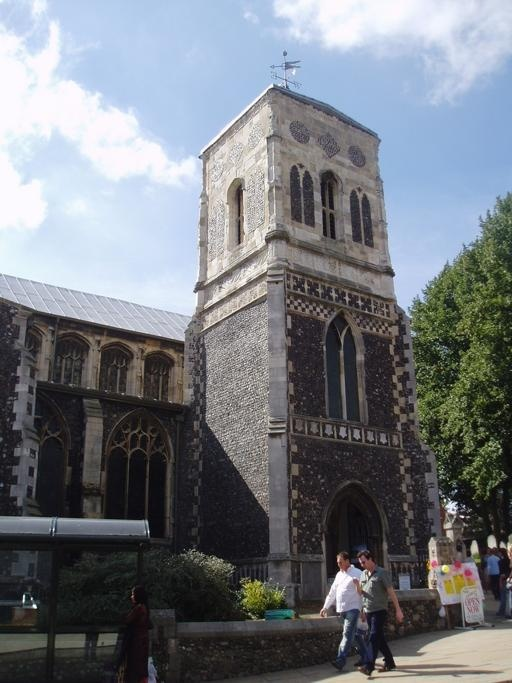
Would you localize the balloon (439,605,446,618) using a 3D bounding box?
[{"bbox_3d":[3.985,5.731,13.252,0.154,0.233,0.081,14,-10,-34],"label":"balloon"}]
